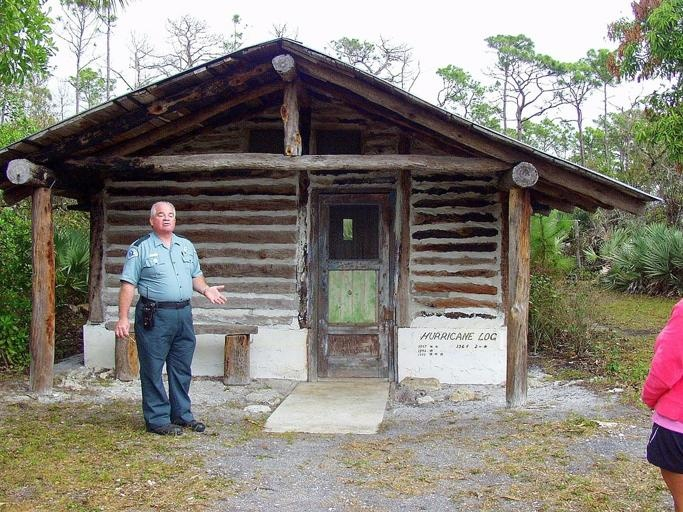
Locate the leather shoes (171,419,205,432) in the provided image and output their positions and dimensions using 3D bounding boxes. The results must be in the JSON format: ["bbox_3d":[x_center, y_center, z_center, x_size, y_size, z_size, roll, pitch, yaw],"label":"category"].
[{"bbox_3d":[-1.614,1.790,6.684,0.357,0.142,0.125,2,-2,16],"label":"leather shoes"}]

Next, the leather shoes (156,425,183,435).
[{"bbox_3d":[-1.778,1.805,6.478,0.263,0.102,0.098,0,-2,0],"label":"leather shoes"}]

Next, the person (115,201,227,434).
[{"bbox_3d":[-1.821,0.660,6.507,0.992,2.415,0.510,-2,7,-21],"label":"person"}]
